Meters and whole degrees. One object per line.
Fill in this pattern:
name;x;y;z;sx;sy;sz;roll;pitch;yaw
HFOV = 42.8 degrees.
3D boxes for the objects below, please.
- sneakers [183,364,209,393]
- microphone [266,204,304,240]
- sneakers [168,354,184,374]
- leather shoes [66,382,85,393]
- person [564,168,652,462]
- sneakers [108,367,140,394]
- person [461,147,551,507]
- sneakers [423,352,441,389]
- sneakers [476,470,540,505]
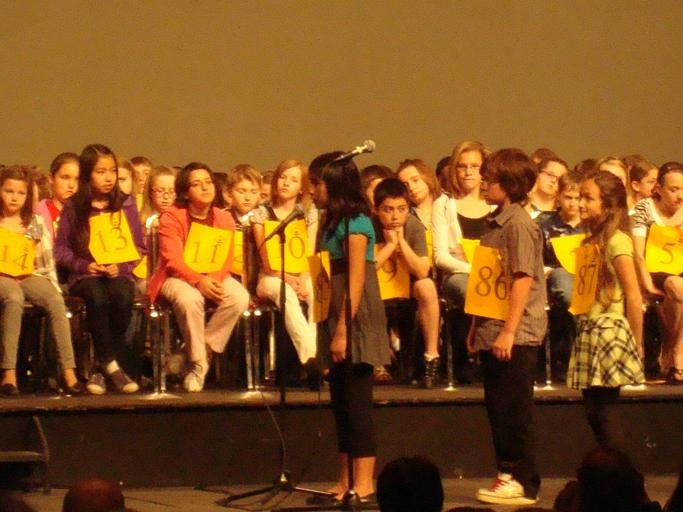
sneakers;-0.925;0.765;5.459;0.118;0.132;0.310;3;-11;-4
microphone;-0.356;-0.203;5.408;0.322;0.064;0.079;-39;31;-5
sneakers;-1.078;0.706;5.655;0.103;0.131;0.042;6;-5;25
leather shoes;-1.626;0.808;5.302;0.113;0.066;0.063;-1;-6;-17
person;1.409;0.282;4.667;0.387;1.505;0.364;3;-7;-45
sneakers;-1.370;0.767;5.458;0.247;0.100;0.097;16;37;40
person;0.870;0.366;4.612;0.420;1.873;0.281;-3;-5;12
sneakers;0.544;0.747;5.559;0.122;0.229;0.171;3;-9;-9
sneakers;0.852;1.239;4.637;0.369;0.232;0.126;6;-13;2
